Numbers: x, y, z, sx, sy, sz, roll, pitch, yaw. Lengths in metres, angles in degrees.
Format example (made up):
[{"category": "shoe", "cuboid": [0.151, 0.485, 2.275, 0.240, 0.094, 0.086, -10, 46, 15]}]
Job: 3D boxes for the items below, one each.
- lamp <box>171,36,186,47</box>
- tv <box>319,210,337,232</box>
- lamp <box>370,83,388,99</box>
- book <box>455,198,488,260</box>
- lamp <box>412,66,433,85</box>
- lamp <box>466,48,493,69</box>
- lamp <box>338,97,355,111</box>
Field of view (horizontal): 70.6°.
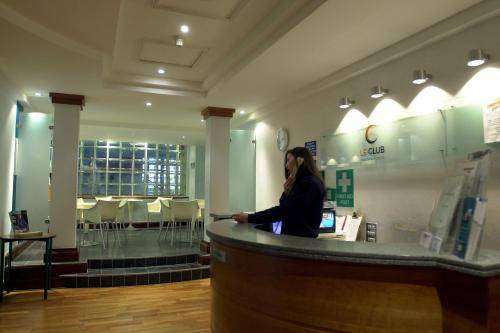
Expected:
[{"category": "lamp", "cuboid": [-1.028, -1.825, 5.132, 0.112, 0.086, 0.120, 2, 1, 24]}, {"category": "tv", "cuboid": [1.267, 0.870, 5.577, 0.215, 0.335, 0.363, 11, -14, -31]}, {"category": "lamp", "cuboid": [1.819, -1.055, 4.960, 0.247, 0.117, 0.153, 0, -1, -17]}, {"category": "book", "cuboid": [1.593, 0.448, 2.570, 0.177, 0.449, 0.153, 5, 6, 37]}, {"category": "lamp", "cuboid": [2.174, -1.163, 4.474, 0.249, 0.148, 0.172, 1, -4, 1]}, {"category": "lamp", "cuboid": [2.570, -1.215, 3.982, 0.233, 0.139, 0.192, 0, -3, -14]}, {"category": "lamp", "cuboid": [1.489, -0.983, 5.465, 0.225, 0.113, 0.147, 0, -1, -12]}]
